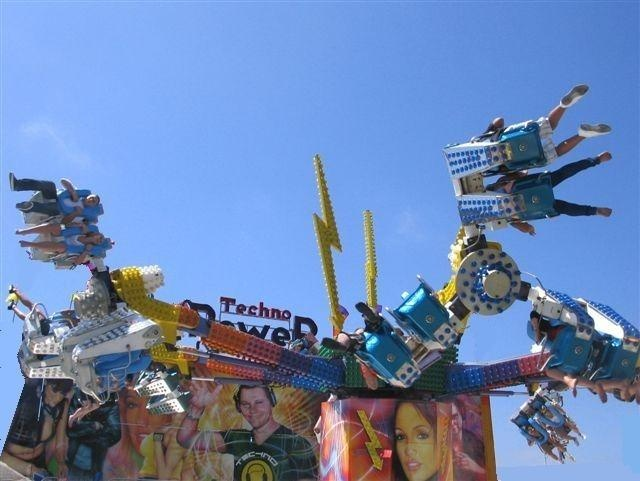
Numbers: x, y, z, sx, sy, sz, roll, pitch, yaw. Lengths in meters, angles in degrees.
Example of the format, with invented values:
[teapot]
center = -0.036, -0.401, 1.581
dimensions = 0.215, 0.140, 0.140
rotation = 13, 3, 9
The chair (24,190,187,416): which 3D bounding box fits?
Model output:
[chair]
center = -6.314, 2.484, 26.434
dimensions = 3.775, 3.159, 1.806
rotation = -2, -47, 11
